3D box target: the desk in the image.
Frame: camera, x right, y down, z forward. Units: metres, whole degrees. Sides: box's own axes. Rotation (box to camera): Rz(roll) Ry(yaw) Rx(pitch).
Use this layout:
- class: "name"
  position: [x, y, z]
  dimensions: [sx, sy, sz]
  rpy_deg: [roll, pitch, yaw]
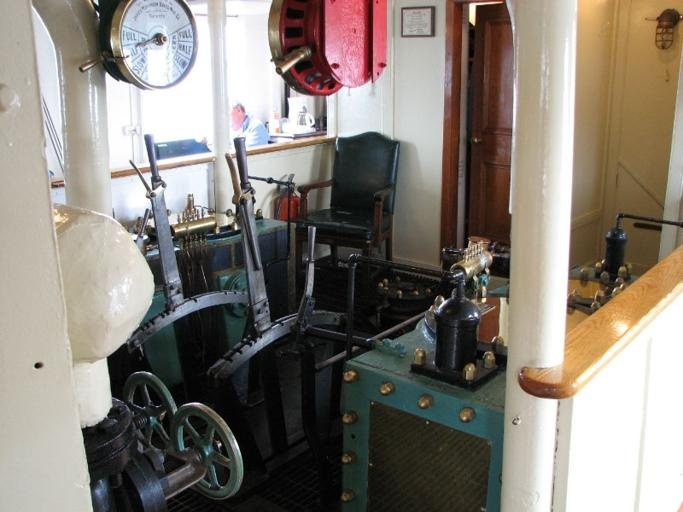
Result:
- class: "desk"
  position: [-1.019, -0.712, 4.843]
  dimensions: [0.476, 0.448, 2.808]
  rpy_deg: [11, 25, 41]

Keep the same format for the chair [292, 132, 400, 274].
- class: "chair"
  position: [0.099, -0.403, 5.151]
  dimensions: [0.911, 1.476, 0.888]
  rpy_deg: [-13, 22, -43]

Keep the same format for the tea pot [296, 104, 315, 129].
- class: "tea pot"
  position: [-0.411, -1.571, 6.303]
  dimensions: [0.260, 0.300, 0.176]
  rpy_deg: [7, 12, 14]
